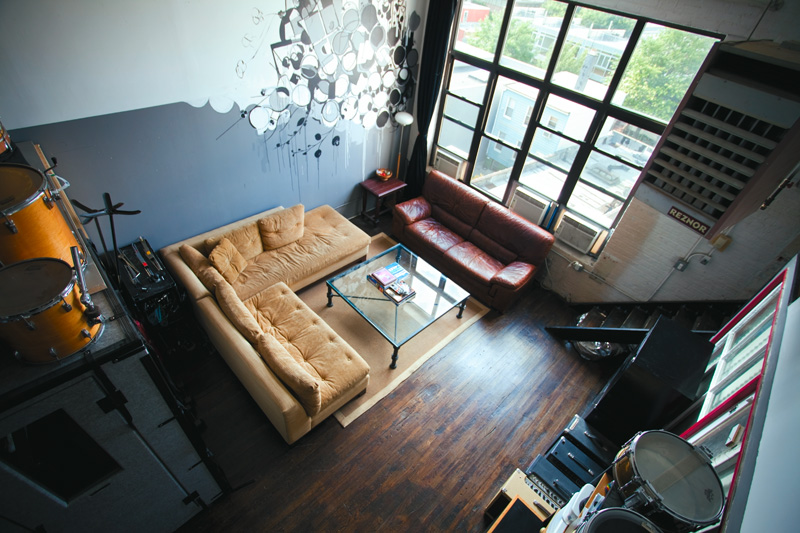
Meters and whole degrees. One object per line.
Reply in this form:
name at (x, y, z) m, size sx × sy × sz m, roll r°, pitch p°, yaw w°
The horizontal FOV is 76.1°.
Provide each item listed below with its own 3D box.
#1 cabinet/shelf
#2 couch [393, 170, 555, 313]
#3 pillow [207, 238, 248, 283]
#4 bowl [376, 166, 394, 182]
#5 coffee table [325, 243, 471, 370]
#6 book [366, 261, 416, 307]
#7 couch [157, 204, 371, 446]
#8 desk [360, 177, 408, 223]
cabinet/shelf at (2.353, 1.170, 4.792) m, size 1.010 × 0.994 × 0.672 m, roll -29°, pitch 50°, yaw -34°
couch at (0.867, -0.361, 6.942) m, size 2.029 × 1.014 × 0.906 m, roll 36°, pitch 43°, yaw 27°
pillow at (-1.972, -0.065, 5.843) m, size 0.145 × 0.494 × 0.499 m, roll -21°, pitch 47°, yaw 23°
bowl at (-0.208, -1.345, 7.425) m, size 0.324 × 0.143 × 0.210 m, roll -27°, pitch 50°, yaw -33°
coffee table at (0.041, 0.286, 6.165) m, size 1.372 × 0.534 × 1.426 m, roll 41°, pitch 52°, yaw 20°
book at (-0.088, 0.210, 6.115) m, size 0.476 × 0.117 × 0.473 m, roll 38°, pitch 43°, yaw 22°
couch at (-1.582, 0.298, 5.943) m, size 2.308 × 0.878 × 3.416 m, roll 2°, pitch 42°, yaw -8°
desk at (-0.261, -0.961, 7.406) m, size 0.519 × 0.530 × 0.364 m, roll -32°, pitch 70°, yaw -35°
